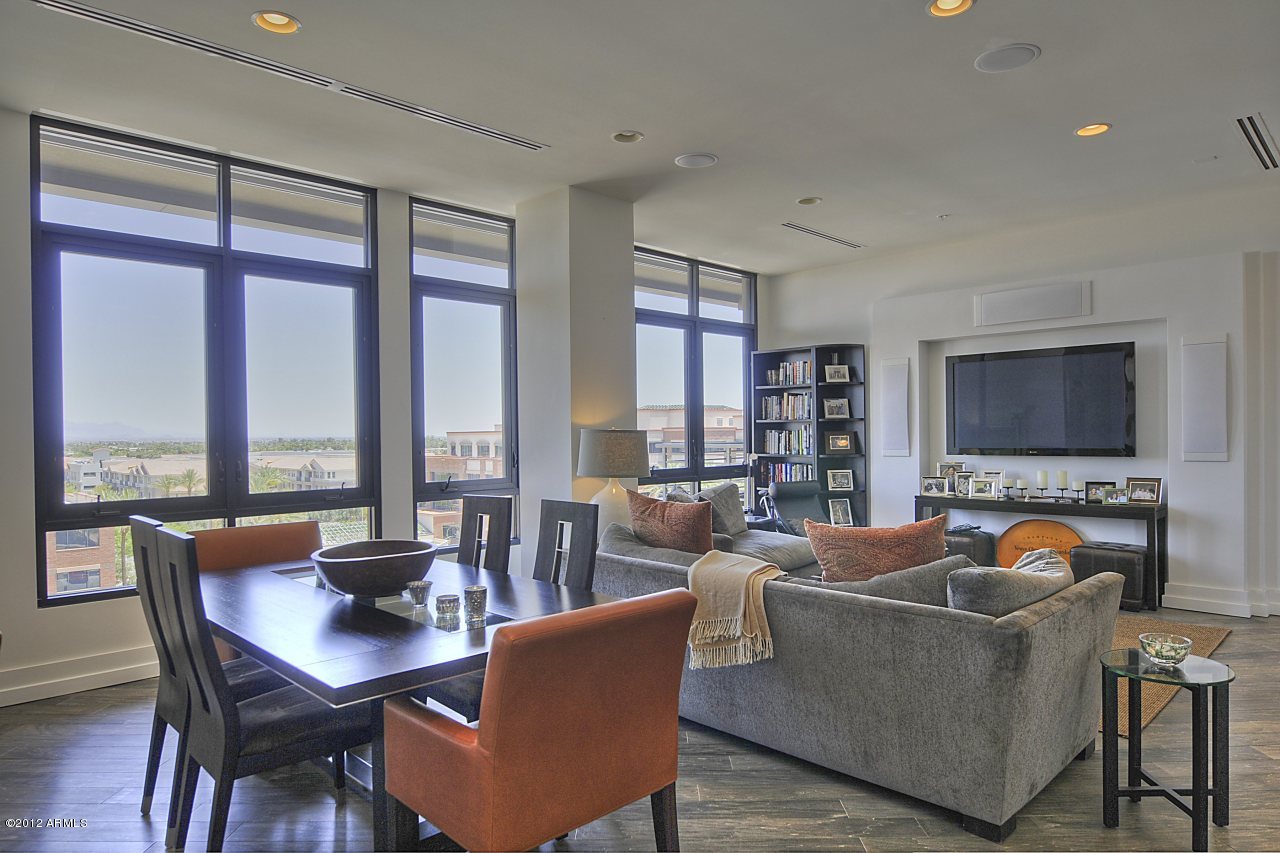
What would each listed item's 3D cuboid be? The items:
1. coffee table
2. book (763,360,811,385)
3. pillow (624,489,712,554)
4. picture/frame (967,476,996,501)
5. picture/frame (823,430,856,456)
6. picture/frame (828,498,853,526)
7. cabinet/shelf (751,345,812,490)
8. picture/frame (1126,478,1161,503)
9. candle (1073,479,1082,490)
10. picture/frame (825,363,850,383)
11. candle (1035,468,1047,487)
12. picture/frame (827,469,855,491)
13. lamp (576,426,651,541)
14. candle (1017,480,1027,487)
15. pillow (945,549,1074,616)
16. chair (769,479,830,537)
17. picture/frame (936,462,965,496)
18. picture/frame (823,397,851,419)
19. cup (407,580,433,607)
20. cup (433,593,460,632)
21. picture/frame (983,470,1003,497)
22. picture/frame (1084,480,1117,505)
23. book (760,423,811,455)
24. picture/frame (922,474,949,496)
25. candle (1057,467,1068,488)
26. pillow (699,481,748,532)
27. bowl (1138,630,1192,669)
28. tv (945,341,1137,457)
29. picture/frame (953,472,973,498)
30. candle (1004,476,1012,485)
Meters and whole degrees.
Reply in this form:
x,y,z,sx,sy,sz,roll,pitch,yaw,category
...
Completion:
x,y,z,sx,sy,sz,roll,pitch,yaw,category
2.768,1.619,4.550,0.582,1.038,0.810,-2,-1,31,coffee table
1.640,-0.588,9.704,0.109,0.303,0.573,-2,-1,-44,book
0.201,0.654,5.752,0.638,0.344,0.188,5,10,37,pillow
3.301,0.606,8.365,0.243,0.229,0.026,-1,-20,35,picture/frame
2.152,0.188,9.406,0.275,0.216,0.092,1,-19,-4,picture/frame
2.053,0.890,8.953,0.311,0.279,0.022,3,-14,-30,picture/frame
1.618,-0.167,9.781,0.663,1.403,0.179,0,-32,9,cabinet/shelf
4.416,0.566,7.585,0.071,0.183,0.198,13,-14,-39,picture/frame
4.008,0.538,7.948,0.091,0.058,0.089,0,0,15,candle
2.125,-0.571,9.389,0.224,0.174,0.016,5,-17,-10,picture/frame
3.783,0.484,8.173,0.090,0.182,0.236,-2,-1,24,candle
2.141,0.585,9.322,0.239,0.190,0.017,2,-18,1,picture/frame
-0.208,0.471,7.112,0.638,0.854,0.620,-2,-3,20,lamp
3.696,0.551,8.381,0.068,0.046,0.065,0,1,8,candle
1.942,0.833,4.587,0.839,0.323,0.408,-1,-1,-42,pillow
1.549,0.803,8.515,0.542,0.483,0.523,1,-1,-31,chair
3.100,0.537,8.655,0.317,0.413,0.043,-11,-42,42,picture/frame
2.120,-0.185,9.407,0.227,0.197,0.113,2,-18,-3,picture/frame
-1.162,0.871,4.541,0.126,0.088,0.121,0,-7,0,cup
-0.945,0.934,4.298,0.148,0.151,0.141,0,-6,0,cup
3.420,0.561,8.432,0.155,0.215,0.226,1,3,17,picture/frame
4.154,0.590,7.822,0.058,0.199,0.233,29,-15,-26,picture/frame
1.658,0.147,9.728,0.193,0.368,0.754,-2,-1,-37,book
2.950,0.596,8.670,0.216,0.170,0.072,1,-7,40,picture/frame
3.919,0.487,8.050,0.082,0.202,0.237,-2,-1,24,candle
0.647,0.641,6.904,0.174,0.319,0.460,10,5,31,pillow
2.665,1.136,4.479,0.307,0.157,0.307,0,0,0,bowl
3.850,-0.264,8.169,1.228,0.784,0.095,0,1,39,tv
3.172,0.587,8.526,0.033,0.300,0.232,10,-8,-37,picture/frame
3.573,0.524,8.419,0.056,0.122,0.211,-2,-1,30,candle
